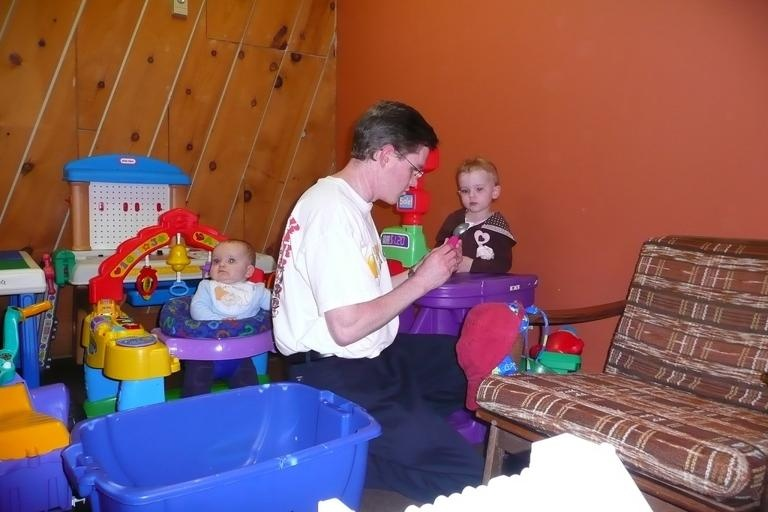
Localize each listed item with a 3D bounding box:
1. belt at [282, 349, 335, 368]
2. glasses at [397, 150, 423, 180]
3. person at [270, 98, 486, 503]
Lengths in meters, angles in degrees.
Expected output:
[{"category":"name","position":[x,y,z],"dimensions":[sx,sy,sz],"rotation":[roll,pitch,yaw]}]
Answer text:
[{"category":"belt","position":[-0.293,0.370,2.234],"dimensions":[0.105,0.030,0.103],"rotation":[-3,4,-43]},{"category":"glasses","position":[0.086,-0.341,2.239],"dimensions":[0.027,0.095,0.090],"rotation":[-26,-11,13]},{"category":"person","position":[-0.015,0.323,2.427],"dimensions":[0.905,1.684,0.726],"rotation":[-1,13,-7]}]
